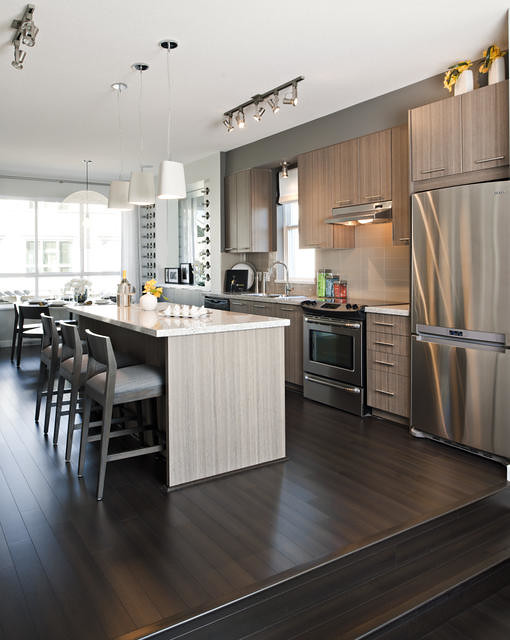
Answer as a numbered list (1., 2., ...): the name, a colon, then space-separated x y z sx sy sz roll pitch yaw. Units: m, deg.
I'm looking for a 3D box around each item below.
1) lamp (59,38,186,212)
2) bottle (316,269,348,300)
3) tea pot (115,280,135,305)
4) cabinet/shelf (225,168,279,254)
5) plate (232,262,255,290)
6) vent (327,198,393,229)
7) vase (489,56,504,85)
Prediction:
1. lamp: -1.204 -1.792 4.506 0.297 1.224 1.375 -5 9 -36
2. bottle: 0.762 -0.344 4.786 0.132 0.266 0.304 -3 5 -36
3. tea pot: -1.111 -0.233 4.146 0.105 0.240 0.259 -1 3 -20
4. cabinet/shelf: -0.107 -1.315 5.948 0.702 0.977 0.382 2 4 34
5. plate: -0.155 -0.557 6.213 0.329 0.338 0.111 3 4 41
6. vent: 0.880 -0.915 4.128 0.184 0.201 0.686 -2 4 -28
7. vase: 1.439 -1.502 2.904 0.078 0.186 0.091 1 3 20
